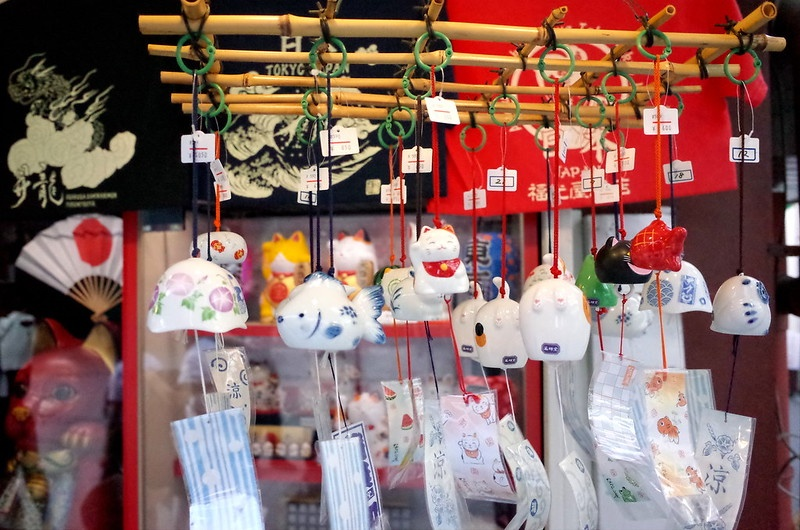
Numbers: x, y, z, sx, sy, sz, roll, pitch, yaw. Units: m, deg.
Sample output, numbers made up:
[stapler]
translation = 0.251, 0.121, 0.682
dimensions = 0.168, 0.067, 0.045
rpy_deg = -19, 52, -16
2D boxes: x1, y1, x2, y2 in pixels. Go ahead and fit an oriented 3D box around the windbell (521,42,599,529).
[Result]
[windbell]
translation = 0.619, 0.098, 4.265
dimensions = 0.259, 1.852, 0.614
rpy_deg = -2, -4, 10
